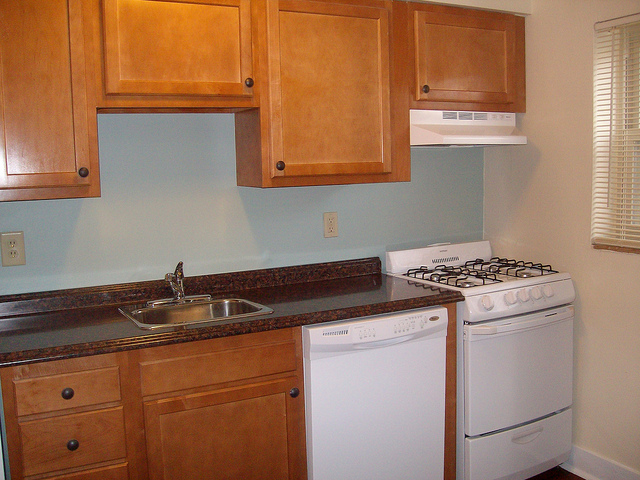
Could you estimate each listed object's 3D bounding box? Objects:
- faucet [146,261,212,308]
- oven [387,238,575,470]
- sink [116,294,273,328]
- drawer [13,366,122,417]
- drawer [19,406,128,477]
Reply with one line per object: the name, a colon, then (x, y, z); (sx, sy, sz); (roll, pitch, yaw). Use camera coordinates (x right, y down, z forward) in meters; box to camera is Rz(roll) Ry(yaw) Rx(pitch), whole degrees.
faucet: (-0.707, 0.200, 2.684); (0.229, 0.219, 0.262); (-3, 16, -39)
oven: (0.900, 0.653, 3.063); (0.870, 1.124, 0.816); (-4, 5, -9)
sink: (-0.587, 0.334, 2.572); (0.677, 0.115, 0.261); (-5, 9, -5)
drawer: (-1.007, 0.560, 2.300); (0.325, 0.153, 0.475); (-4, 4, -14)
drawer: (-0.942, 0.719, 2.171); (0.358, 0.214, 0.392); (0, 9, -37)
